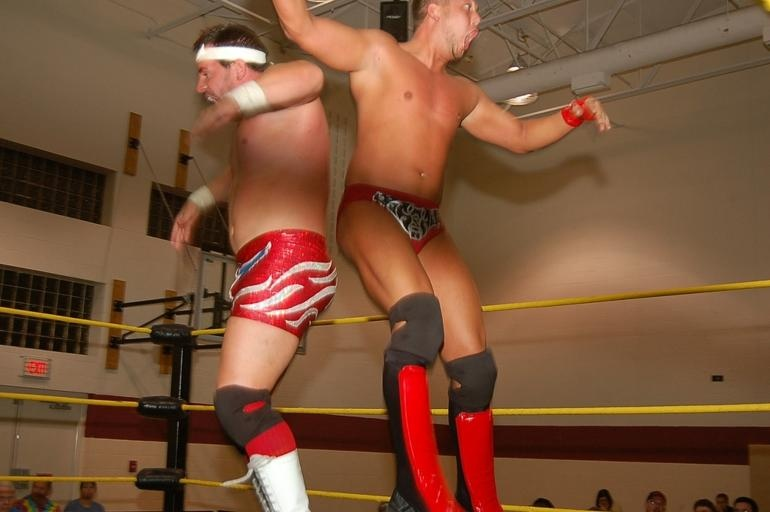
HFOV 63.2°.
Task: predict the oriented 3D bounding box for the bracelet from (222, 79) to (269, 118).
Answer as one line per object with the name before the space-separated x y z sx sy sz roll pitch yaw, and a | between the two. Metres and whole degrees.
bracelet | -0.617 -0.708 2.863 0.155 0.155 0.059 48 -8 -12

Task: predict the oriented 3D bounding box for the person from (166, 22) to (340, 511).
person | -0.618 -0.009 3.000 0.739 2.334 0.533 1 -10 3

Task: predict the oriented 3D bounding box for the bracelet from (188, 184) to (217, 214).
bracelet | -0.947 -0.321 3.314 0.130 0.099 0.131 -39 -6 40
